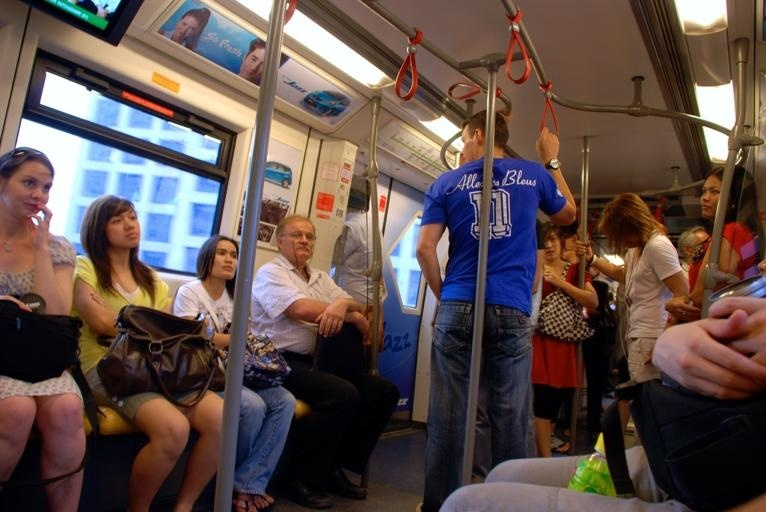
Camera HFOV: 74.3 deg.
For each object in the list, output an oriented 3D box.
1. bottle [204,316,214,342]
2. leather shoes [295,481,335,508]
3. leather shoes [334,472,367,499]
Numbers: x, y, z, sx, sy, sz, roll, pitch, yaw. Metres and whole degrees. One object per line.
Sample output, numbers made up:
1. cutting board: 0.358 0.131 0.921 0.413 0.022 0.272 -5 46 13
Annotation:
1. bottle: -1.153 0.479 3.340 0.057 0.168 0.128 -3 7 -33
2. leather shoes: -0.453 1.629 3.489 0.268 0.150 0.284 0 -15 11
3. leather shoes: -0.268 1.643 3.664 0.308 0.133 0.107 -6 -7 45
